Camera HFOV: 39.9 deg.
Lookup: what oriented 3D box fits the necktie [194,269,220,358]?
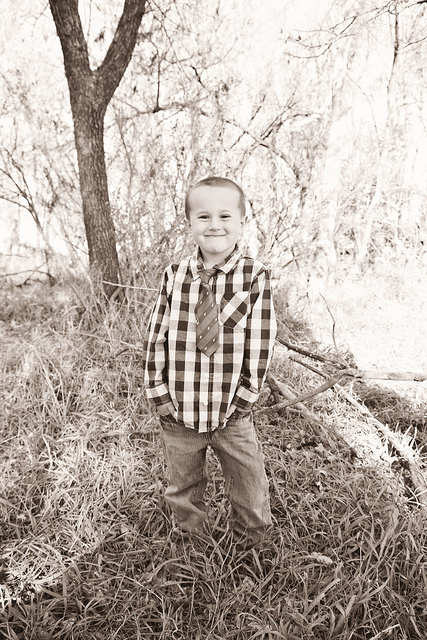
[{"bbox_3d":[-0.024,-0.030,2.155,0.089,0.293,0.122,1,18,-3],"label":"necktie"}]

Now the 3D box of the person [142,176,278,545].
[{"bbox_3d":[-0.011,0.219,2.255,0.508,1.460,0.297,0,18,-8],"label":"person"}]

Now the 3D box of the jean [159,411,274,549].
[{"bbox_3d":[0.004,0.608,2.391,0.433,0.853,0.220,-2,35,0],"label":"jean"}]
